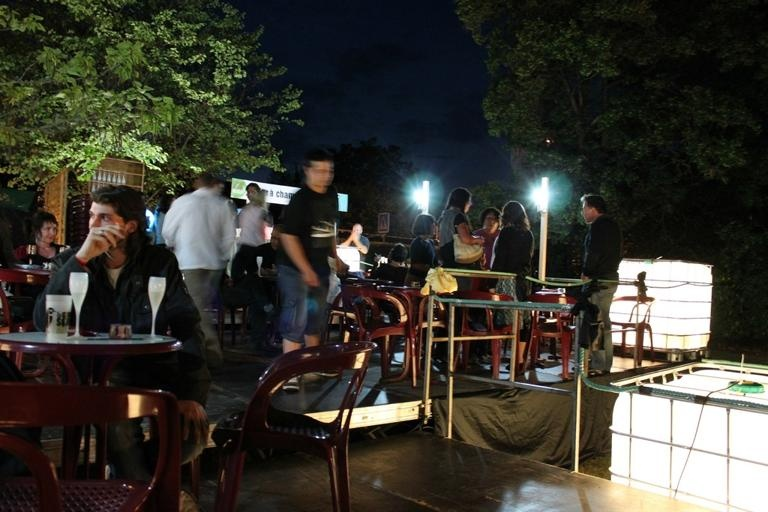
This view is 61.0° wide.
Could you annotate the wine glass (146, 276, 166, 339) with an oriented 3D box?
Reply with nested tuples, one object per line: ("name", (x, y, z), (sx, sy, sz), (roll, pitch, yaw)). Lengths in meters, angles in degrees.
("wine glass", (-1.677, 0.369, 4.818), (0.126, 0.424, 0.250), (1, -3, -19))

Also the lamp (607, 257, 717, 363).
("lamp", (3.958, 0.783, 10.492), (1.908, 1.719, 1.841), (6, -7, -39))

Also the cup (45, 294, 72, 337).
("cup", (-2.262, 0.412, 4.521), (0.162, 0.282, 0.120), (1, -3, -16))
